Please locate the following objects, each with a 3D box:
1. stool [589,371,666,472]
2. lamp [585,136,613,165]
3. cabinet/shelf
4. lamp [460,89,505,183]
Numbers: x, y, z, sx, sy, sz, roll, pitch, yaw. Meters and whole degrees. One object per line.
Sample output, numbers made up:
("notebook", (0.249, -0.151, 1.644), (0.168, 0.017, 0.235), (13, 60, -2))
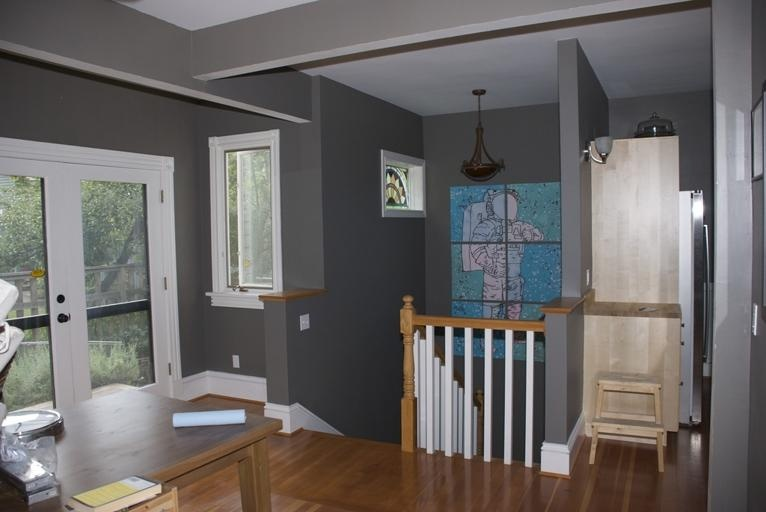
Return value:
("stool", (1.973, 1.366, 4.906), (0.642, 0.793, 0.795), (0, -3, 22))
("lamp", (1.969, -0.940, 5.210), (0.214, 0.260, 0.703), (5, 13, 22))
("cabinet/shelf", (2.342, 1.211, 5.324), (0.848, 1.126, 0.663), (-3, -29, 25))
("lamp", (1.147, -1.310, 6.469), (0.473, 1.070, 1.374), (2, 13, 10))
